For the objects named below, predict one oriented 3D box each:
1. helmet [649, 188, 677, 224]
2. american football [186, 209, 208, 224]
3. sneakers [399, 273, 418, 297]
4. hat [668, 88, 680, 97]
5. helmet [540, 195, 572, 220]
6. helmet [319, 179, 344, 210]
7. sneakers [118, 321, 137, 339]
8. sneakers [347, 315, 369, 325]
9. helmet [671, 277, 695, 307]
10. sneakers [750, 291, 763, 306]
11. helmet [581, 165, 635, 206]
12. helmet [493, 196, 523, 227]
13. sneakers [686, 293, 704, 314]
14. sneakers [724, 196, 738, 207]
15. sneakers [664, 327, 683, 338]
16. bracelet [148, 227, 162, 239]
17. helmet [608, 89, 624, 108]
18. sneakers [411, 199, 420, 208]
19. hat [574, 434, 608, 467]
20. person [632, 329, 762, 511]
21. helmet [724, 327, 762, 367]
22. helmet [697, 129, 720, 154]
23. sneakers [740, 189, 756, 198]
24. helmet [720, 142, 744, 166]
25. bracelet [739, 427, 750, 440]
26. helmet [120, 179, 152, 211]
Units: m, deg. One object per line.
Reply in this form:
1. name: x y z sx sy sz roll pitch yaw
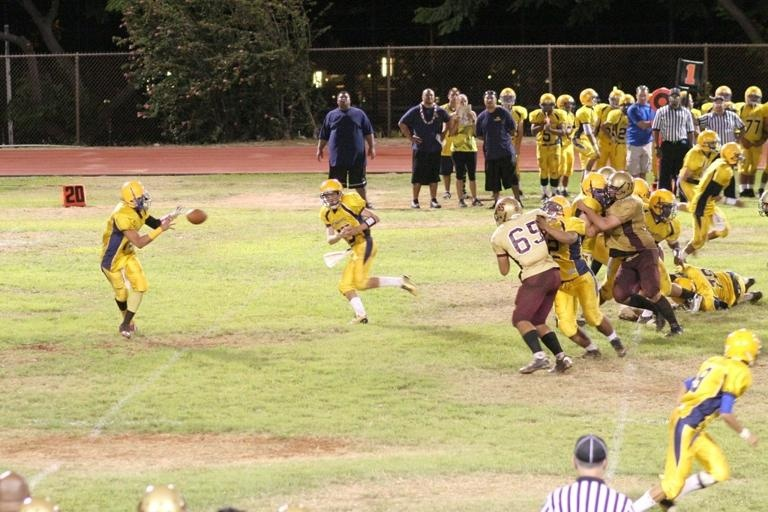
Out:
1. helmet: 4.339 -0.791 19.014 0.518 0.462 0.446 15 22 39
2. american football: -2.873 -0.595 18.782 0.242 0.208 0.289 5 3 22
3. sneakers: 0.402 0.499 19.484 0.210 0.152 0.424 -8 -33 16
4. hat: 6.149 -3.429 25.737 0.288 0.135 0.449 0 9 11
5. helmet: 2.446 -0.677 17.390 0.304 0.289 0.584 3 9 22
6. helmet: -0.819 -0.979 19.167 0.382 0.381 0.456 -8 5 4
7. sneakers: -3.860 1.109 18.413 0.248 0.210 0.259 -3 8 -14
8. sneakers: -0.396 0.994 18.797 0.312 0.128 0.104 0 16 -5
9. helmet: 4.671 0.584 19.034 0.374 0.418 0.456 -13 8 9
10. sneakers: 5.950 0.671 19.492 0.188 0.167 0.213 -7 -11 38
11. helmet: 3.251 -0.974 17.732 0.616 0.379 0.435 -11 1 -12
12. helmet: 1.795 -0.652 17.422 0.361 0.378 0.422 -7 13 -24
13. sneakers: 4.875 0.742 19.138 0.196 0.380 0.148 15 19 -1
14. sneakers: 5.936 -0.897 20.899 0.298 0.126 0.172 10 36 18
15. sneakers: 4.358 1.141 18.301 0.337 0.130 0.100 -6 51 15
16. bracelet: -3.476 -0.310 18.290 0.242 0.067 0.172 -23 16 29
17. helmet: 5.388 -3.608 28.391 0.425 0.390 0.489 -1 13 1
18. sneakers: 0.686 -1.119 26.778 0.255 0.162 0.310 -1 3 -3
19. hat: 2.299 2.108 13.520 0.306 0.186 0.369 2 23 8
20. person: 3.798 1.925 14.589 1.292 2.011 0.654 1 8 9
21. helmet: 4.326 1.069 14.797 0.396 0.418 0.463 21 15 25
22. helmet: 5.836 -2.076 21.950 0.449 0.345 0.350 -1 32 16
23. sneakers: 8.170 -1.381 27.416 0.156 0.263 0.420 -2 -4 5
24. helmet: 5.916 -1.746 20.976 0.460 0.383 0.362 7 25 28
25. bracelet: 4.266 2.088 14.462 0.133 0.084 0.122 -3 -2 -19
26. helmet: -3.762 -0.916 18.579 0.533 0.390 0.357 -3 27 -3
